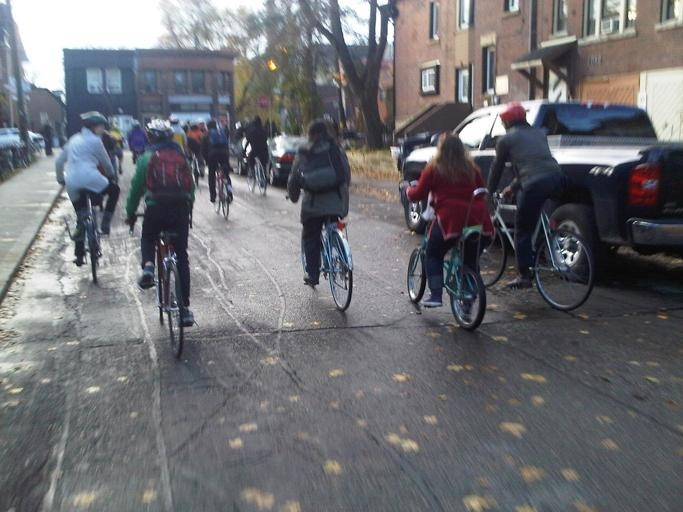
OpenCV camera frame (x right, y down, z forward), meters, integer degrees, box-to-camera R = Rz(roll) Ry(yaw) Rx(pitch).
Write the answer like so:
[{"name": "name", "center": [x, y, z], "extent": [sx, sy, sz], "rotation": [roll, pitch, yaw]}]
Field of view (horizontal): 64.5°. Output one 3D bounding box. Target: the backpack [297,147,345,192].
[{"name": "backpack", "center": [-0.252, -1.070, 6.679], "extent": [0.293, 0.419, 0.208], "rotation": [-15, -26, -1]}]

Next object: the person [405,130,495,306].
[{"name": "person", "center": [1.147, -0.360, 5.884], "extent": [0.826, 1.886, 0.386], "rotation": [1, 13, 9]}]

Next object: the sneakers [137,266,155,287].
[{"name": "sneakers", "center": [-2.011, 0.269, 5.576], "extent": [0.094, 0.285, 0.133], "rotation": [15, 41, -15]}]

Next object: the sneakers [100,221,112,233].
[{"name": "sneakers", "center": [-3.520, -0.442, 8.100], "extent": [0.128, 0.189, 0.148], "rotation": [-1, -5, -15]}]

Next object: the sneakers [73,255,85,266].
[{"name": "sneakers", "center": [-4.116, 0.068, 8.510], "extent": [0.115, 0.157, 0.237], "rotation": [2, 11, -16]}]

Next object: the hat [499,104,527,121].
[{"name": "hat", "center": [2.136, -1.773, 6.712], "extent": [0.178, 0.262, 0.285], "rotation": [-4, 20, -5]}]
